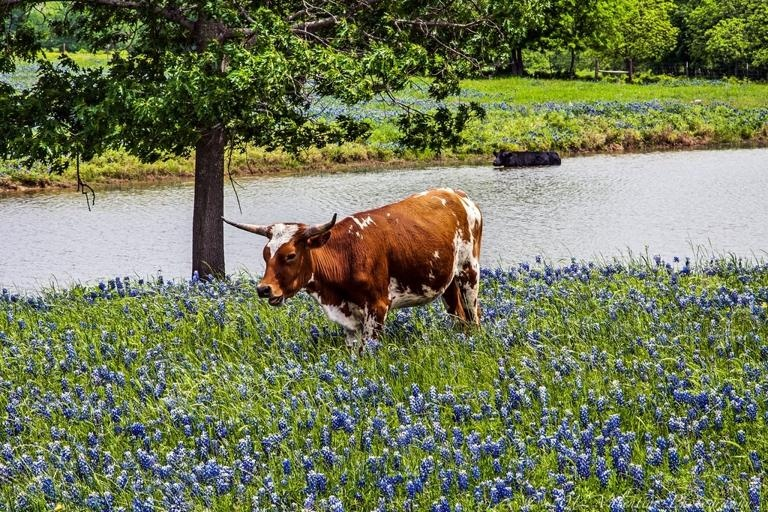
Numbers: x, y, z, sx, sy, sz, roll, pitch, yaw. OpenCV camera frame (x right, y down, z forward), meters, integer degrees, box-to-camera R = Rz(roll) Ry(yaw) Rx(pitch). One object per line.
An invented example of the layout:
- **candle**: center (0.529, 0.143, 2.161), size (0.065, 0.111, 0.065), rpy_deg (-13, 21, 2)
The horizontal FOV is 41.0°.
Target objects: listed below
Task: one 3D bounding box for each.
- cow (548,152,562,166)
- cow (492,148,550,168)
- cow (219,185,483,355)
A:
- **cow**: center (6.317, -3.635, 38.663), size (0.498, 0.559, 0.523), rpy_deg (-1, -10, -3)
- **cow**: center (5.090, -3.726, 38.860), size (2.276, 0.731, 0.824), rpy_deg (2, -2, -6)
- **cow**: center (-0.063, 0.446, 15.964), size (4.357, 2.666, 2.030), rpy_deg (-6, 0, -38)
